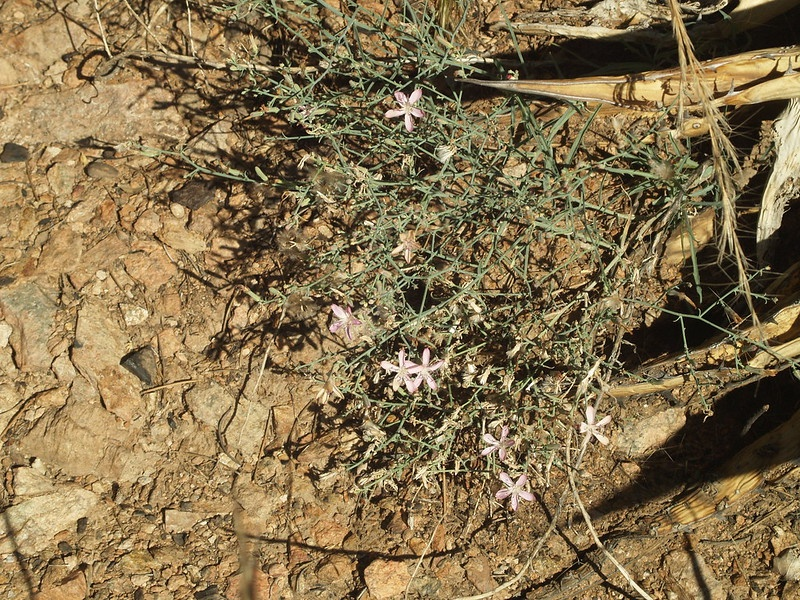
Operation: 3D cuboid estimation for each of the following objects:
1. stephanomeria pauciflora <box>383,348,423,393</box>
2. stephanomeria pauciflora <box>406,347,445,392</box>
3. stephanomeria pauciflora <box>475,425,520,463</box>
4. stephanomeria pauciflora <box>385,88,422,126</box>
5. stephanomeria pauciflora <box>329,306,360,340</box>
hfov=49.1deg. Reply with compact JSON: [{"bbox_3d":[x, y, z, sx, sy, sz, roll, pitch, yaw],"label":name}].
[{"bbox_3d":[0.014,0.288,3.545,0.178,0.174,0.059,4,14,-16],"label":"stephanomeria pauciflora"},{"bbox_3d":[0.098,0.278,3.521,0.170,0.168,0.051,-28,18,9],"label":"stephanomeria pauciflora"},{"bbox_3d":[0.387,0.580,3.535,0.130,0.152,0.079,41,0,12],"label":"stephanomeria pauciflora"},{"bbox_3d":[0.031,-0.767,3.430,0.156,0.080,0.140,18,-1,-6],"label":"stephanomeria pauciflora"},{"bbox_3d":[-0.241,0.082,3.558,0.155,0.158,0.077,5,17,11],"label":"stephanomeria pauciflora"}]
